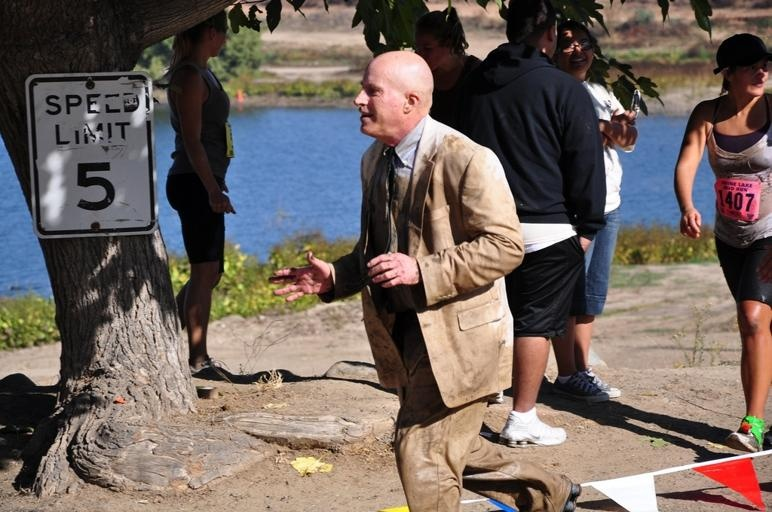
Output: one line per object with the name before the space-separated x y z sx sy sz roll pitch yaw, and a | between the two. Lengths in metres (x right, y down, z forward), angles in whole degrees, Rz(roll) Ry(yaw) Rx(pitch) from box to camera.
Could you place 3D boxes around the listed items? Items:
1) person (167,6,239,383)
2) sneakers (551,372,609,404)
person | -1.776 -0.604 13.732 0.666 3.540 0.782 -3 10 -6
sneakers | 1.880 1.267 13.874 0.604 0.223 0.215 6 7 15
